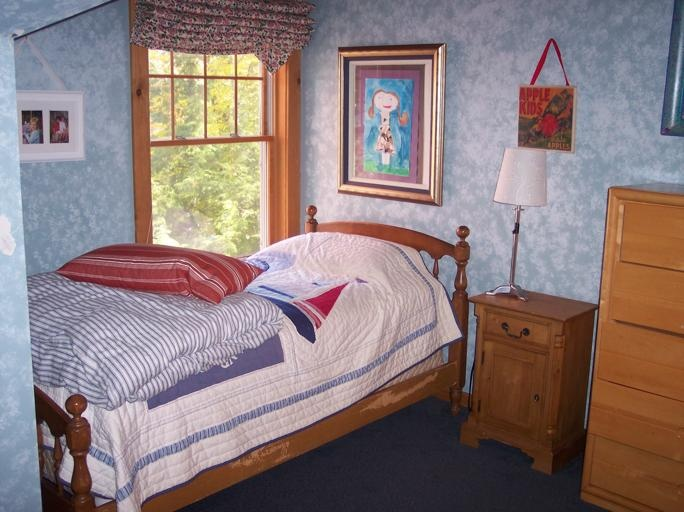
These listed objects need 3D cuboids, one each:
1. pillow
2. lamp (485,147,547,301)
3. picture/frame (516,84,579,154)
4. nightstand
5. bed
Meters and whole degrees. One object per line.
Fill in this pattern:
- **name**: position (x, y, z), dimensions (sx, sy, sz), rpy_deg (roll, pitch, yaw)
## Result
- **pillow**: position (-0.938, 0.071, 2.998), dimensions (0.679, 0.175, 0.407), rpy_deg (6, 8, 21)
- **lamp**: position (1.083, -0.204, 3.619), dimensions (0.298, 0.896, 0.382), rpy_deg (8, 12, 30)
- **picture/frame**: position (1.246, -0.825, 3.595), dimensions (0.398, 0.447, 0.058), rpy_deg (11, 20, 41)
- **nightstand**: position (1.114, 0.722, 3.644), dimensions (0.657, 0.905, 0.466), rpy_deg (8, 9, 41)
- **bed**: position (-0.455, 0.342, 3.272), dimensions (1.199, 1.163, 2.206), rpy_deg (10, 14, 41)
